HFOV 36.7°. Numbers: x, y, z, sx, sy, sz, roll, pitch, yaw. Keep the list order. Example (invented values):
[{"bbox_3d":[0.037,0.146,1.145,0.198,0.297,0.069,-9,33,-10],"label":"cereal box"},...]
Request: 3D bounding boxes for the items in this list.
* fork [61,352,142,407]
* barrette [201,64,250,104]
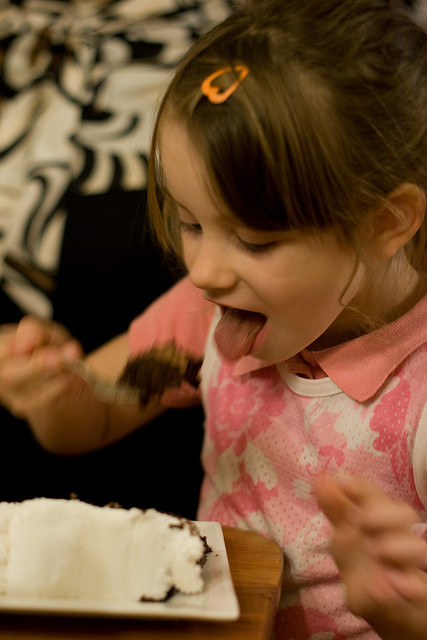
[{"bbox_3d":[-0.143,0.079,0.821,0.151,0.025,0.024,24,73,20],"label":"fork"},{"bbox_3d":[0.011,-0.208,0.588,0.048,0.011,0.027,-36,56,-1],"label":"barrette"}]
